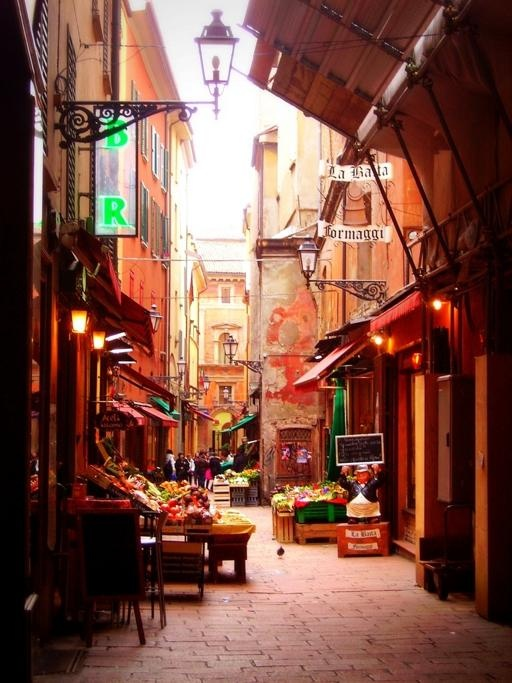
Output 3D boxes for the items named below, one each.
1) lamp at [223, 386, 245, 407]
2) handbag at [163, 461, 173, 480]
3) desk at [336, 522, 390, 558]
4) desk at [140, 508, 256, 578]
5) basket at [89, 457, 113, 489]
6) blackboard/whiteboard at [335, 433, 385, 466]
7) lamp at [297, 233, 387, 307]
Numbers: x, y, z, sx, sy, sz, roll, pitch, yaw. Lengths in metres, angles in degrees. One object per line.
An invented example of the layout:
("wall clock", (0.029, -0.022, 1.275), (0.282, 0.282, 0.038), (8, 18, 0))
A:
("lamp", (-1.800, 4.373, 70.433), (1.808, 1.733, 2.183), (1, -12, -5))
("handbag", (-2.844, 4.264, 28.403), (0.286, 0.612, 0.892), (1, -12, -6))
("desk", (1.582, 2.952, 12.862), (0.752, 0.508, 0.310), (-2, -11, 8))
("desk", (-0.479, 2.506, 10.780), (0.813, 0.555, 0.924), (4, -6, 0))
("basket", (-1.534, 1.343, 8.680), (0.258, 0.381, 1.167), (2, -13, -9))
("blackboard/whiteboard", (1.534, 1.614, 12.929), (0.684, 0.477, 0.380), (-1, -11, 3))
("lamp", (1.876, -1.533, 18.675), (1.995, 2.522, 0.618), (0, 8, 4))
